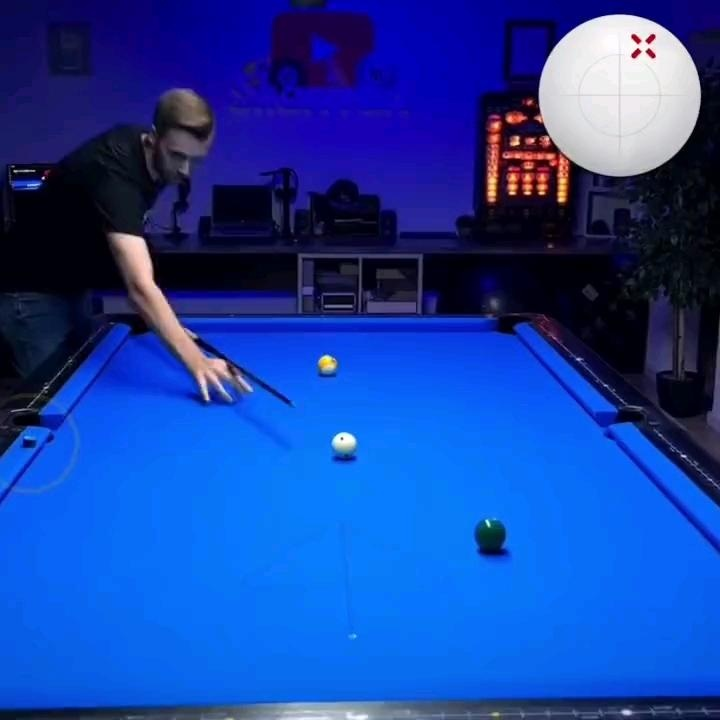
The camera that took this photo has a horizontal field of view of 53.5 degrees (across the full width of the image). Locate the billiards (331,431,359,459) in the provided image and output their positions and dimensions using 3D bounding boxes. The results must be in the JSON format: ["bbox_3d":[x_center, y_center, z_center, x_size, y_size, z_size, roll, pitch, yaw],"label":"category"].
[{"bbox_3d":[-0.036,0.190,1.644,0.048,0.055,0.057,9,-54,11],"label":"billiards"}]

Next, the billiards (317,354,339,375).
[{"bbox_3d":[-0.106,0.014,2.399,0.056,0.066,0.059,2,4,35],"label":"billiards"}]

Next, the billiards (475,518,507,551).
[{"bbox_3d":[0.225,0.303,1.223,0.044,0.057,0.052,0,7,5],"label":"billiards"}]
